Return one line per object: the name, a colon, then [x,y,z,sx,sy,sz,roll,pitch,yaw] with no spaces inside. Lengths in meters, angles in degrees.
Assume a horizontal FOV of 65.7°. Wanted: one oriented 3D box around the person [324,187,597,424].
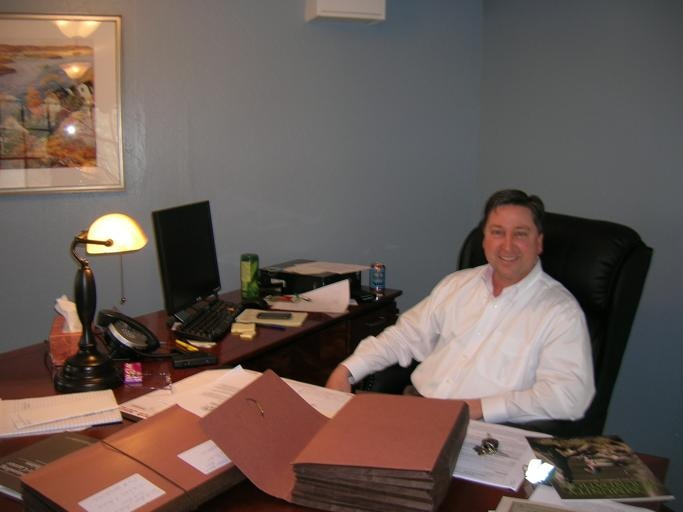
person: [0.561,0.248,2.148,0.734,1.028,1.032,5,3,-38]
